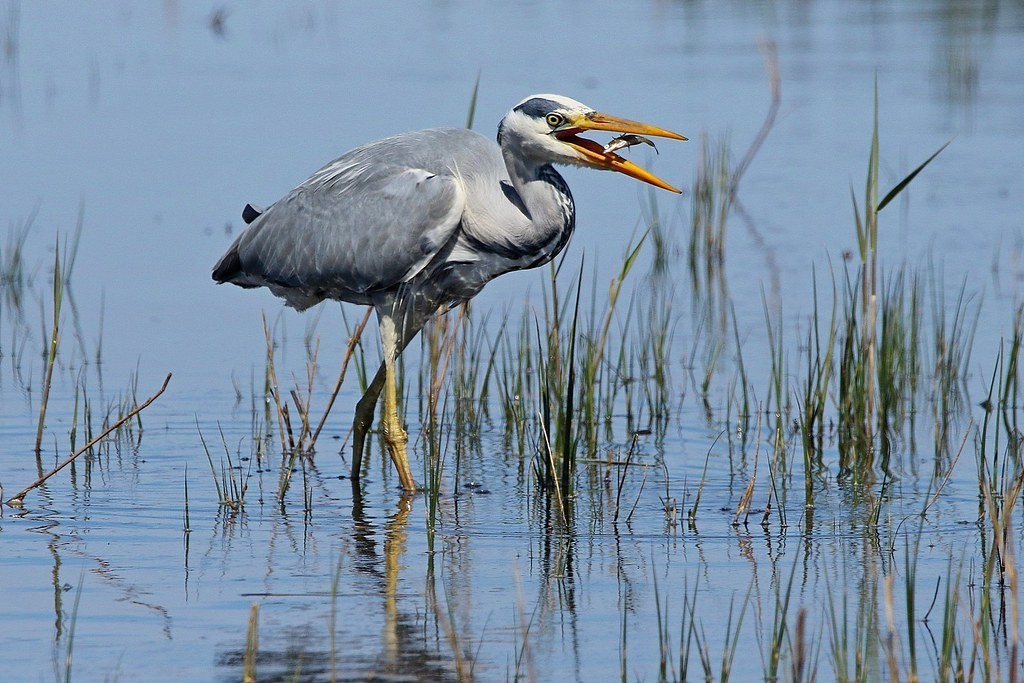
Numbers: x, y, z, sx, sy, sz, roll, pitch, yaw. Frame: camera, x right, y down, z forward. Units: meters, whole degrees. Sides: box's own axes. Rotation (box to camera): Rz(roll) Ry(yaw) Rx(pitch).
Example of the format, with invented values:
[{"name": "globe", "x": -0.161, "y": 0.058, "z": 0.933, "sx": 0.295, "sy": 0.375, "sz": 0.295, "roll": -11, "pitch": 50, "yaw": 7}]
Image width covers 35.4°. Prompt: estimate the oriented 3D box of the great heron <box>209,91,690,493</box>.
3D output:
[{"name": "great heron", "x": -0.494, "y": -0.225, "z": 10.408, "sx": 3.146, "sy": 2.538, "sz": 1.117, "roll": 5, "pitch": 4, "yaw": 23}]
